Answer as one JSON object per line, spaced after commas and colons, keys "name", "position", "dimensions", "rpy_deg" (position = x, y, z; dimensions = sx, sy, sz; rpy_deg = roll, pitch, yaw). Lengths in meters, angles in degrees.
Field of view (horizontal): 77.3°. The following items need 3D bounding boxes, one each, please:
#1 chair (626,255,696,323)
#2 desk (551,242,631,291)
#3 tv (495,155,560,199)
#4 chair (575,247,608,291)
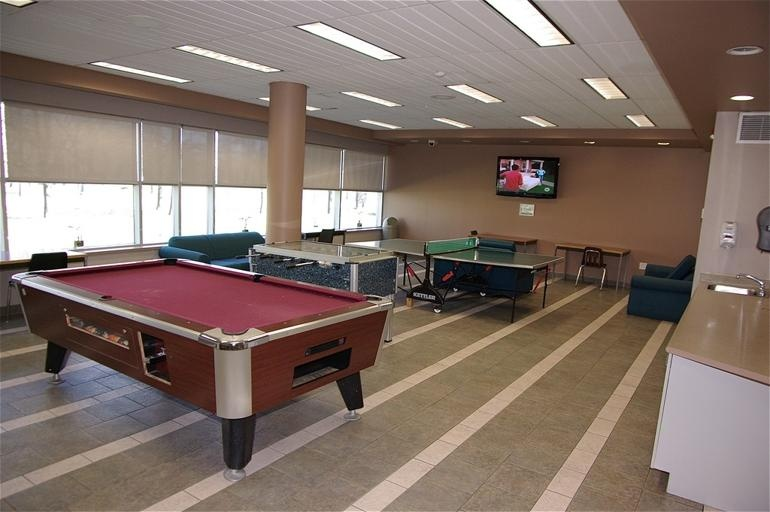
{"name": "chair", "position": [4.813, 0.534, 8.421], "dimensions": [0.901, 1.089, 0.758], "rpy_deg": [11, 17, 26]}
{"name": "desk", "position": [4.842, 0.255, 11.146], "dimensions": [1.243, 0.594, 0.439], "rpy_deg": [8, 15, 41]}
{"name": "tv", "position": [3.646, -2.015, 12.110], "dimensions": [1.454, 0.802, 0.144], "rpy_deg": [4, 9, 27]}
{"name": "chair", "position": [4.760, 0.201, 11.014], "dimensions": [0.666, 0.975, 1.197], "rpy_deg": [10, 15, 22]}
